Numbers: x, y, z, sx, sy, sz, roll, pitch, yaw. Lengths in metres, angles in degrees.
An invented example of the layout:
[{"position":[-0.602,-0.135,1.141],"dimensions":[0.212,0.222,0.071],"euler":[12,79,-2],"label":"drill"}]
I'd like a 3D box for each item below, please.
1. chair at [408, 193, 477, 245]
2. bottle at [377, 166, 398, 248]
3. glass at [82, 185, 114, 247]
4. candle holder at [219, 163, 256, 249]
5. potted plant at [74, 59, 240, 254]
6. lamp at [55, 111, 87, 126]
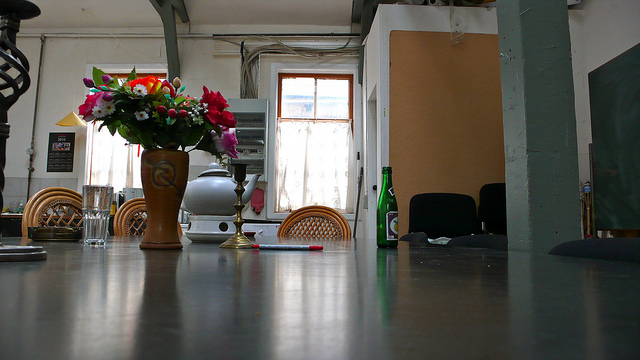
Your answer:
[{"position":[1.054,0.337,4.287],"dimensions":[0.460,0.549,0.486],"euler":[0,-9,0],"label":"chair"},{"position":[0.370,0.142,2.734],"dimensions":[0.110,0.456,0.131],"euler":[0,-8,7],"label":"bottle"},{"position":[-1.149,0.174,2.527],"dimensions":[0.129,0.340,0.153],"euler":[0,0,-10],"label":"glass"},{"position":[-0.397,0.130,2.595],"dimensions":[0.192,0.445,0.158],"euler":[1,-1,43],"label":"candle holder"},{"position":[-0.837,-0.105,2.627],"dimensions":[0.898,0.881,0.616],"euler":[3,-6,-6],"label":"potted plant"},{"position":[-3.388,-0.813,6.696],"dimensions":[0.313,0.122,0.293],"euler":[1,-2,-9],"label":"lamp"}]
